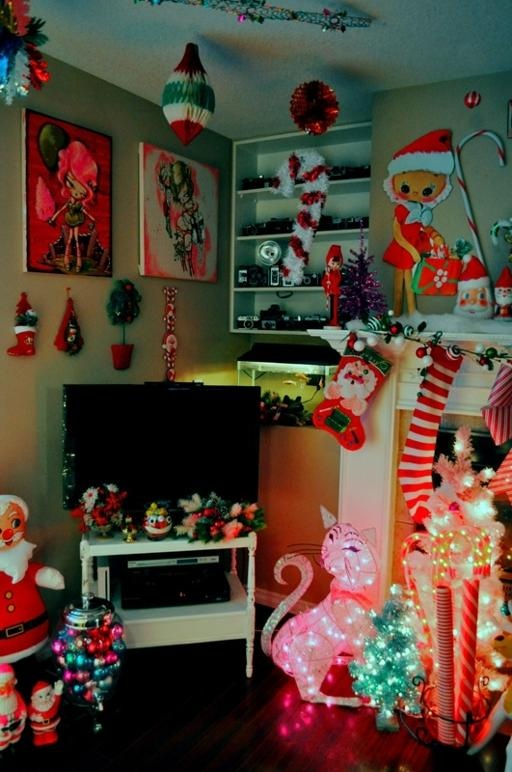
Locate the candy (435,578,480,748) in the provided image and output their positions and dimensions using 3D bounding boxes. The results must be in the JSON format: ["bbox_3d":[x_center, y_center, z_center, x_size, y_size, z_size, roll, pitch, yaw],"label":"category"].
[{"bbox_3d":[0.699,0.958,2.211,0.139,0.602,0.247,5,4,21],"label":"candy"}]

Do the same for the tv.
[{"bbox_3d":[-0.444,0.307,2.703,0.703,0.459,0.175,0,0,-12],"label":"tv"}]

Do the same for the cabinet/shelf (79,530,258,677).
[{"bbox_3d":[-0.429,0.864,2.824,0.837,0.715,0.607,-1,-1,-19],"label":"cabinet/shelf"}]

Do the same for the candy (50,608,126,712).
[{"bbox_3d":[-0.613,1.003,2.296,0.248,0.411,0.170,1,5,-27],"label":"candy"}]
